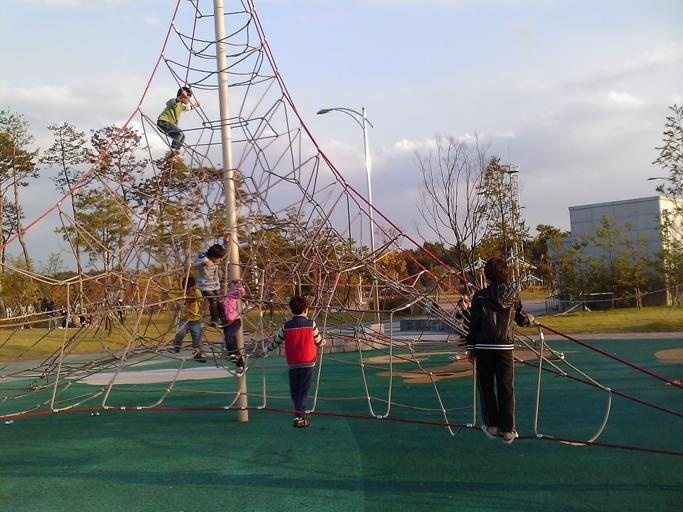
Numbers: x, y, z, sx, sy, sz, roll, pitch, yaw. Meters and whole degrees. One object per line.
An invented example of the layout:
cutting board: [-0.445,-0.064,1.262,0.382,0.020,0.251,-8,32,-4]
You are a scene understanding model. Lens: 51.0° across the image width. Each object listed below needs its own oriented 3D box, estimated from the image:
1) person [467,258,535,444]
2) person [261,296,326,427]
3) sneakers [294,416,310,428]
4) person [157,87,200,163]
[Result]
person: [2.157,1.292,9.811,0.831,2.528,0.470,-3,4,3]
person: [-0.676,1.744,11.507,0.850,2.209,0.869,-4,4,-3]
sneakers: [-0.624,2.645,11.409,0.201,0.091,0.254,1,-2,3]
person: [-3.087,-2.498,13.507,0.742,1.291,0.759,-5,4,-25]
